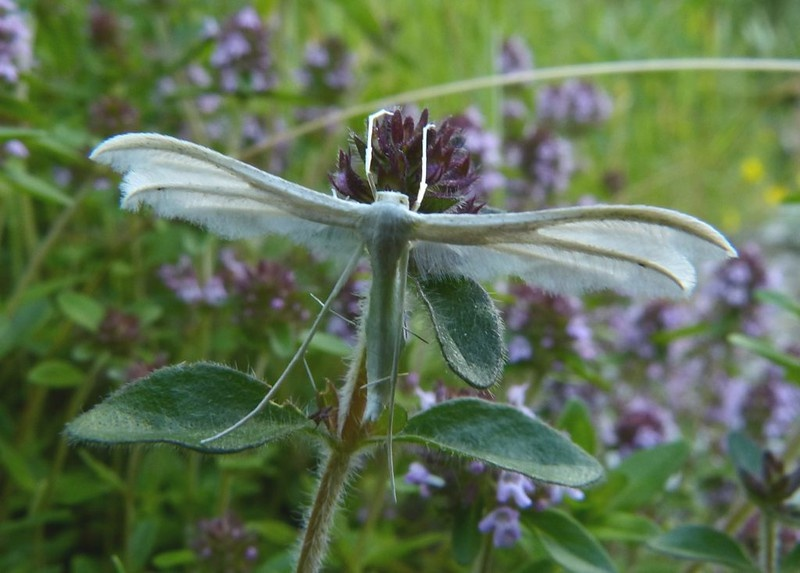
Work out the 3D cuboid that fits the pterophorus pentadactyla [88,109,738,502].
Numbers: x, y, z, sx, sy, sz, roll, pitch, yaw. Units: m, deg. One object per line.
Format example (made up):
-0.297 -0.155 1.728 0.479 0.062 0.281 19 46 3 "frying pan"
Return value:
-0.018 0.014 2.392 1.380 0.816 0.254 15 -16 5 "pterophorus pentadactyla"
